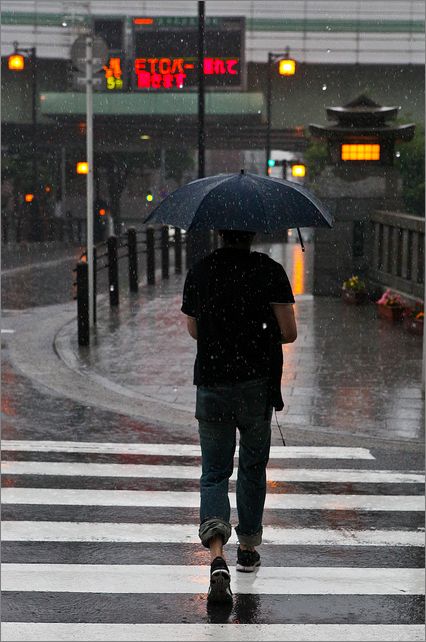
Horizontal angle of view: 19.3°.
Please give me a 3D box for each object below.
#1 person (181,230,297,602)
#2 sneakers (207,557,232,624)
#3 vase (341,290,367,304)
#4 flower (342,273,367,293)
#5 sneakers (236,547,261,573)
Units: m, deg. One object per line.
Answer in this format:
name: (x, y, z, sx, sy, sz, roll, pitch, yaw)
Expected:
person: (0.148, 0.461, 6.219, 0.547, 1.808, 0.561, -2, 6, -9)
sneakers: (0.027, 1.315, 6.023, 0.093, 0.297, 0.127, -1, 40, 3)
vase: (2.023, -0.354, 17.775, 0.241, 0.218, 0.764, -2, 8, -3)
flower: (2.019, -0.534, 17.754, 0.229, 0.204, 0.237, 2, 1, 30)
sneakers: (0.183, 1.254, 6.546, 0.059, 0.093, 0.186, 1, 6, 9)
